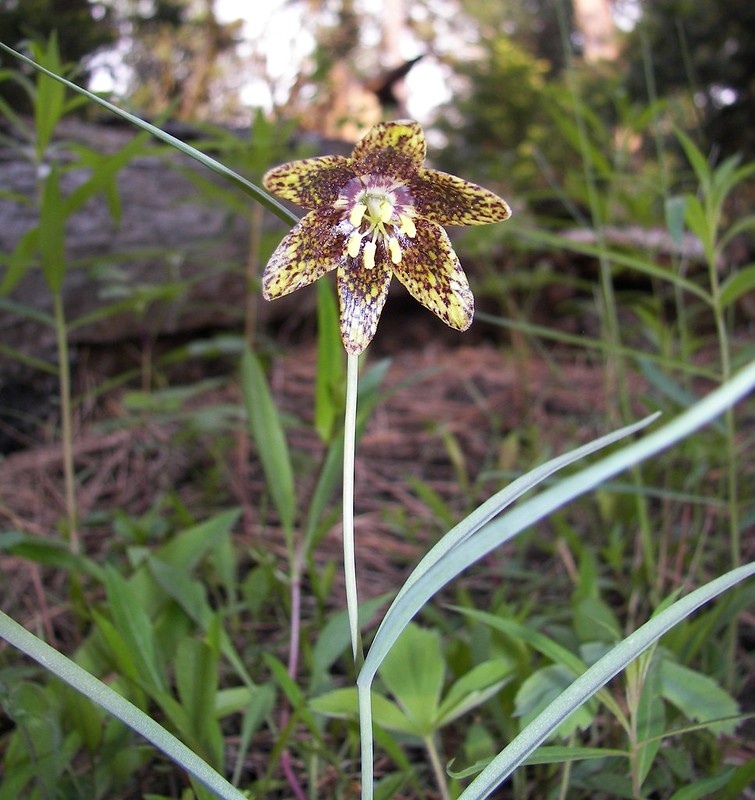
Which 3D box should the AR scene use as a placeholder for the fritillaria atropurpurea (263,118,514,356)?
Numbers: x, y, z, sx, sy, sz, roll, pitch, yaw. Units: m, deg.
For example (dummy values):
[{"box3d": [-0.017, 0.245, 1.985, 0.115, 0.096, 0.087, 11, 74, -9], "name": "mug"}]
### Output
[{"box3d": [0.011, -0.221, 1.141, 0.340, 0.267, 0.115, 19, 24, -6], "name": "fritillaria atropurpurea"}]
